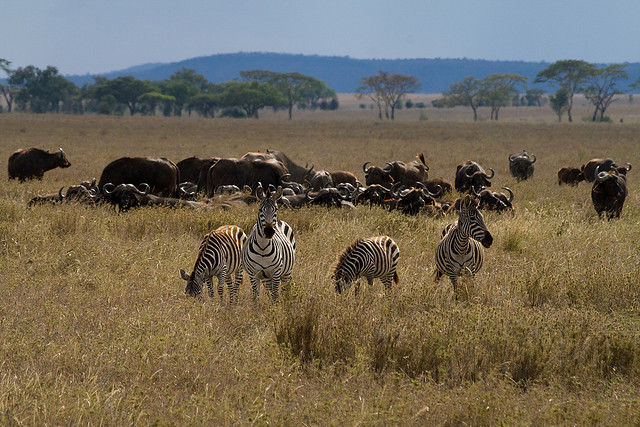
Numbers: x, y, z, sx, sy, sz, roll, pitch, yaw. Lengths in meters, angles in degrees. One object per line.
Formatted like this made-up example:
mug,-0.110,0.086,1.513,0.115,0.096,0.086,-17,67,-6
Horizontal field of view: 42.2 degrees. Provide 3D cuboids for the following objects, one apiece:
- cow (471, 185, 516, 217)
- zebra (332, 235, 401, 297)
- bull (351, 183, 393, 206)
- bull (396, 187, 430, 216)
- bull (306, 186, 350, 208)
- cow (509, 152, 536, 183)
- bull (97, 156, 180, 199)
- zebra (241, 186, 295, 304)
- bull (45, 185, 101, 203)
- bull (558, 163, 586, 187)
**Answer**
cow,5.054,-0.346,24.043,1.286,0.944,0.621,-1,-4,26
zebra,1.086,1.296,18.907,0.808,1.461,2.638,4,7,37
bull,1.602,-0.588,25.867,1.200,0.613,0.825,5,9,36
bull,2.740,-0.345,24.313,0.595,0.579,0.981,1,-14,-19
bull,0.263,-0.499,24.694,1.220,0.525,1.321,0,8,3
cow,8.042,-1.404,33.056,0.936,1.451,2.562,3,-17,12
bull,-5.557,-0.888,25.578,2.780,1.607,0.836,-9,18,-39
zebra,-1.079,0.680,18.102,0.943,2.538,1.131,2,3,19
bull,-7.011,-0.534,23.457,1.504,0.430,0.907,-3,8,-19
bull,9.356,-1.423,30.957,0.508,0.592,1.295,-3,8,-22
